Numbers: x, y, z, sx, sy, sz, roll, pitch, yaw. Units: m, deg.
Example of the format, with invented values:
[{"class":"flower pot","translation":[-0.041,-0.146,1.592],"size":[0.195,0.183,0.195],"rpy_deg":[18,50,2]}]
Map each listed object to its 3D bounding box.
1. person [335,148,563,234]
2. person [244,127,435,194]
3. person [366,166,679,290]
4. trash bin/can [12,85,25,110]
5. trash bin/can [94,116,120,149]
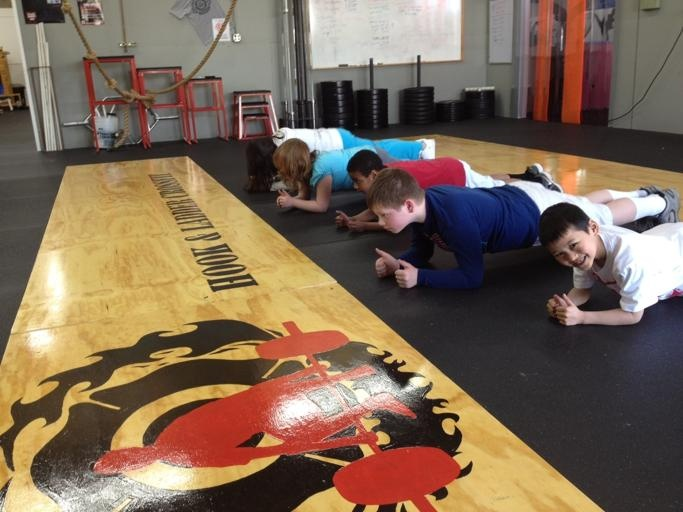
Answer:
[{"class":"person","translation":[0.566,-0.459,3.128],"size":[1.864,0.583,0.641],"rpy_deg":[-1,8,-4]},{"class":"person","translation":[-0.032,-0.734,3.584],"size":[1.159,0.524,0.396],"rpy_deg":[-20,31,-35]},{"class":"person","translation":[1.072,-0.249,2.418],"size":[1.831,0.587,0.594],"rpy_deg":[-10,7,-9]},{"class":"trash bin/can","translation":[-11.401,-5.635,15.652],"size":[0.457,0.780,1.112],"rpy_deg":[-15,23,-28]},{"class":"trash bin/can","translation":[-3.920,-2.104,7.468],"size":[0.285,0.545,0.361],"rpy_deg":[6,22,23]}]
